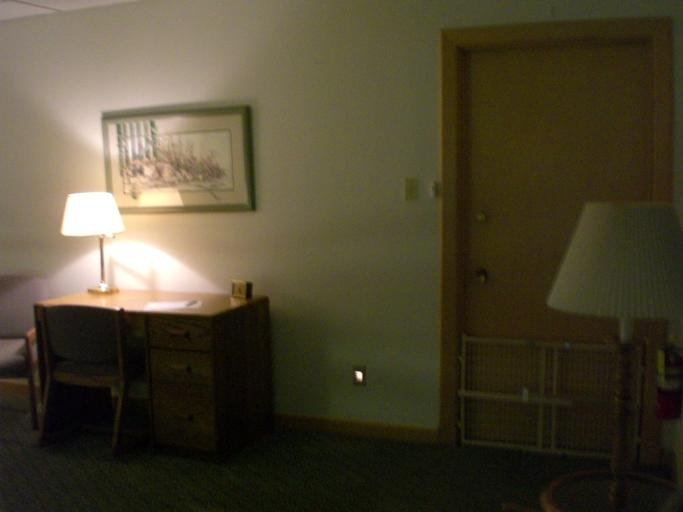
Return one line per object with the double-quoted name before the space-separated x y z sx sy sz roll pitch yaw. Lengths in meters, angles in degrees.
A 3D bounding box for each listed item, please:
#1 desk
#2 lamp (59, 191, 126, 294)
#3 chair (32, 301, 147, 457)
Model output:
"desk" -1.193 0.670 3.743 1.280 0.892 0.764 2 7 21
"lamp" -1.560 -0.086 3.905 0.359 0.644 0.354 -1 7 -11
"chair" -1.446 0.661 3.673 0.634 0.831 0.675 0 8 -24
